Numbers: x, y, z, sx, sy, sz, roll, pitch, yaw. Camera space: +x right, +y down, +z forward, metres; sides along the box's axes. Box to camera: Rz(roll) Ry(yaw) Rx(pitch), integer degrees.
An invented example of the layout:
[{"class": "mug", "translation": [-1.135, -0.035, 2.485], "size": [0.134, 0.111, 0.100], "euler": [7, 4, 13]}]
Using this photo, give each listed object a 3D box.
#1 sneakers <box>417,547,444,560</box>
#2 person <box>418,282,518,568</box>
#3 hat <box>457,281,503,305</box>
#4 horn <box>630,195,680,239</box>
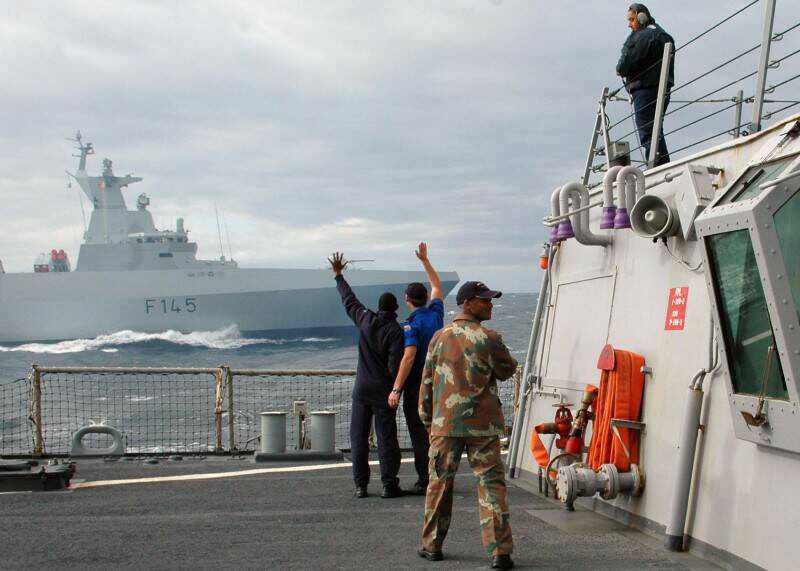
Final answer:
[{"class": "sneakers", "translation": [0.218, 1.953, 6.540], "size": [0.075, 0.082, 0.190], "euler": [3, 0, -25]}, {"class": "person", "translation": [0.487, 1.009, 6.491], "size": [0.703, 2.032, 0.319], "euler": [-2, -7, 12]}, {"class": "hat", "translation": [0.541, 0.058, 6.500], "size": [0.438, 0.183, 0.280], "euler": [-2, 2, 8]}, {"class": "horn", "translation": [2.057, -0.532, 7.209], "size": [0.294, 0.354, 0.347], "euler": [7, -16, -35]}]
